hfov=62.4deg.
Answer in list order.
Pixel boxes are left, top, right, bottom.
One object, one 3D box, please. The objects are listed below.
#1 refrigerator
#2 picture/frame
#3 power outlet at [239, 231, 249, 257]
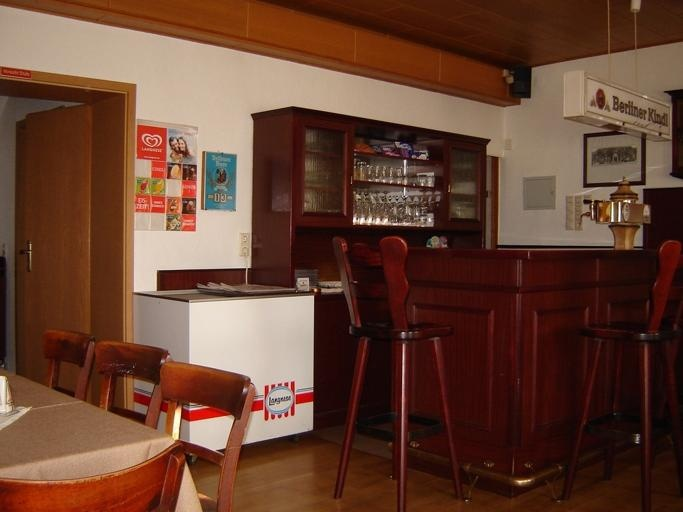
[{"bbox_3d":[-0.769,0.687,4.461,1.013,1.403,1.412,-1,0,44],"label":"refrigerator"},{"bbox_3d":[2.885,-1.019,5.915,0.771,0.802,0.067,5,7,42],"label":"picture/frame"},{"bbox_3d":[-0.811,-0.103,4.761,0.069,0.203,0.083,0,6,15],"label":"power outlet"}]
